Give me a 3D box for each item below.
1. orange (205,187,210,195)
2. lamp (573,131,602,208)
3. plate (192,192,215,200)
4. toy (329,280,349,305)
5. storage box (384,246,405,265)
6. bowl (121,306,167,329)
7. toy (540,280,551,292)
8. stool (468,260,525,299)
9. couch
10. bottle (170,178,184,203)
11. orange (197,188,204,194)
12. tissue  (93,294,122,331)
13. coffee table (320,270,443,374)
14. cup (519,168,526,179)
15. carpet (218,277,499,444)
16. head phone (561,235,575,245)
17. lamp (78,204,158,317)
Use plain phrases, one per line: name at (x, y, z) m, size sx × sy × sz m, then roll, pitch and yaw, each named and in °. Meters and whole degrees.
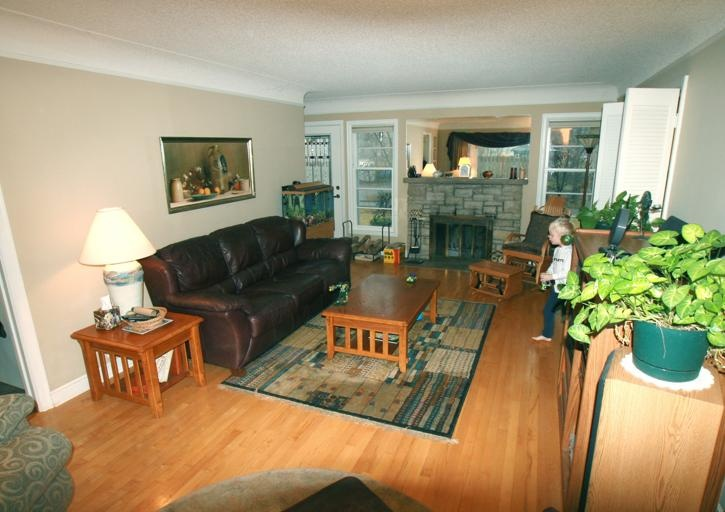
orange at (-1.755, -0.729, 5.866) m, size 0.042 × 0.069 × 0.057 m, roll 1°, pitch 19°, yaw 35°
lamp at (3.135, -1.195, 7.283) m, size 0.248 × 1.087 × 1.052 m, roll 4°, pitch 15°, yaw 23°
plate at (-1.782, -0.669, 5.846) m, size 0.013 × 0.085 × 0.358 m, roll 7°, pitch 15°, yaw 31°
toy at (-0.258, 0.398, 5.540) m, size 0.251 × 0.266 × 0.154 m, roll 28°, pitch 37°, yaw 34°
storage box at (0.501, -0.007, 8.160) m, size 0.281 × 0.277 × 0.391 m, roll 3°, pitch 13°, yaw 16°
bowl at (-1.834, 0.525, 4.437) m, size 0.239 × 0.101 × 0.245 m, roll 2°, pitch 11°, yaw 0°
toy at (2.275, 0.367, 6.450) m, size 0.166 × 0.201 × 0.066 m, roll 1°, pitch 11°, yaw -43°
stool at (1.757, 0.290, 6.619) m, size 0.548 × 0.387 × 0.640 m, roll -20°, pitch 26°, yaw -34°
couch at (-1.097, 0.280, 5.823) m, size 1.158 × 1.074 × 2.387 m, roll 9°, pitch 18°, yaw 21°
bottle at (-1.967, -0.688, 5.515) m, size 0.040 × 0.272 × 0.180 m, roll 2°, pitch 15°, yaw 18°
orange at (-1.800, -0.725, 5.792) m, size 0.059 × 0.064 × 0.059 m, roll 11°, pitch -2°, yaw 27°
tissue  at (-2.187, 0.490, 4.438) m, size 0.201 × 0.275 × 0.140 m, roll -9°, pitch 16°, yaw -26°
coffee table at (0.228, 0.659, 5.392) m, size 0.922 × 0.461 × 1.245 m, roll 4°, pitch 16°, yaw 19°
cup at (2.372, -1.223, 7.703) m, size 0.085 × 0.151 × 0.133 m, roll 2°, pitch 15°, yaw 17°
carpet at (0.145, 0.996, 5.399) m, size 2.123 × 0.348 × 2.347 m, roll 3°, pitch 13°, yaw 22°
head phone at (1.668, -0.122, 4.204) m, size 0.081 × 0.091 × 0.093 m, roll 14°, pitch -10°, yaw -11°
lamp at (-2.160, 0.056, 4.561) m, size 0.519 × 0.927 × 0.367 m, roll -2°, pitch 15°, yaw 2°
